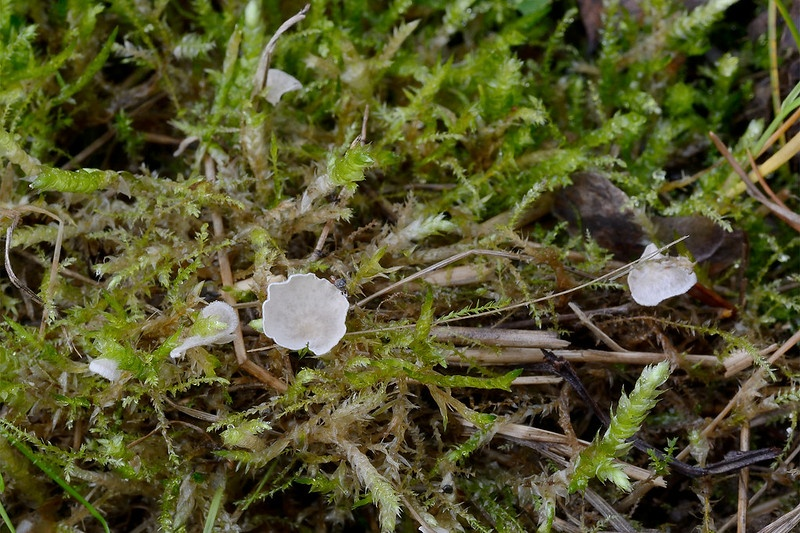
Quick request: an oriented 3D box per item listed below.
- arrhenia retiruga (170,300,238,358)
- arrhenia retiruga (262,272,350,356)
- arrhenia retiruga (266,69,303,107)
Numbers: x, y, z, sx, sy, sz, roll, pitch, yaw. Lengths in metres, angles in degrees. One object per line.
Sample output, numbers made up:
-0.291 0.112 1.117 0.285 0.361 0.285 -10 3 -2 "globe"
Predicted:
-0.528 0.183 1.971 0.187 0.049 0.122 -43 97 10 "arrhenia retiruga"
-0.247 0.121 1.906 0.224 0.055 0.201 18 79 2 "arrhenia retiruga"
-0.358 -0.548 2.258 0.103 0.159 0.113 7 78 1 "arrhenia retiruga"
